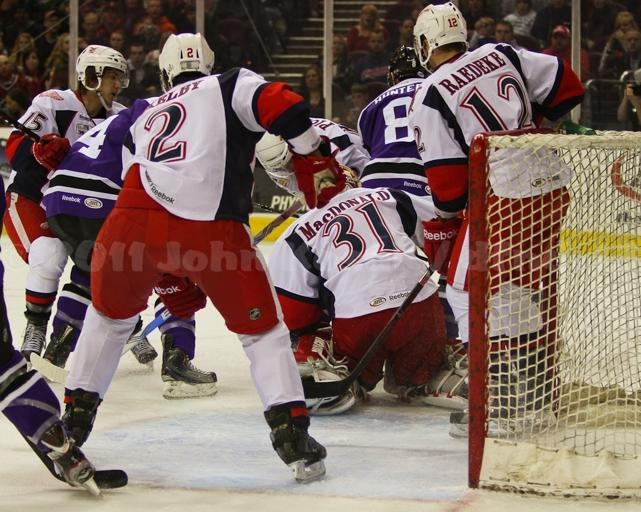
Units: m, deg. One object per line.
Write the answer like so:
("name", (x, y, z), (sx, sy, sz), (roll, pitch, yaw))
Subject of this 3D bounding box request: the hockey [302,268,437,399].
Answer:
("hockey", (0.208, 0.328, 3.943), (0.830, 0.160, 0.094), (-39, -2, -14))

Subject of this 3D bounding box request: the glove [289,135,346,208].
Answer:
("glove", (-0.016, -0.315, 3.383), (0.111, 0.239, 0.200), (3, -29, -13))

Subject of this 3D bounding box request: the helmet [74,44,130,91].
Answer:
("helmet", (-1.094, -0.976, 4.680), (0.290, 0.258, 0.211), (-5, 14, -6))

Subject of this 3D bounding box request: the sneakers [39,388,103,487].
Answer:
("sneakers", (-0.858, 0.656, 3.141), (0.124, 0.297, 0.291), (-10, 43, 7))

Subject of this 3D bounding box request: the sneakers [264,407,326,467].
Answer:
("sneakers", (-0.093, 0.640, 3.228), (0.209, 0.224, 0.104), (-2, 10, -4))

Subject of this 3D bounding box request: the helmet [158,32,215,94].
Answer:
("helmet", (-0.529, -0.763, 3.551), (0.207, 0.231, 0.238), (-3, 10, -9))
